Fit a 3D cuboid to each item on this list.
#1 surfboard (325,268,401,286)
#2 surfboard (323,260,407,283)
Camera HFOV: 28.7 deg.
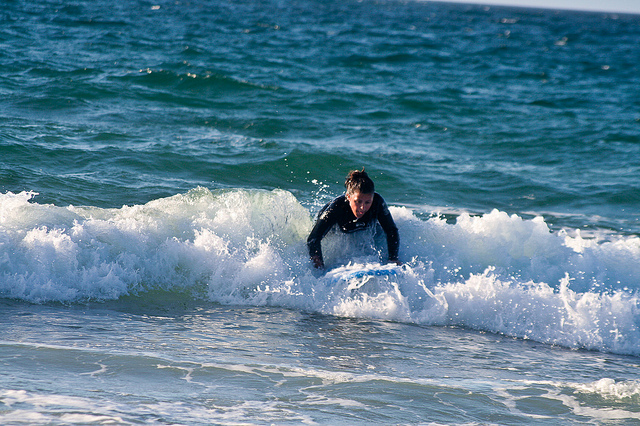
[{"bbox_3d":[1.156,1.727,34.252,1.179,0.237,0.819,0,2,-30],"label":"surfboard"},{"bbox_3d":[1.021,1.393,34.873,2.439,0.508,1.009,-3,25,-5],"label":"surfboard"}]
